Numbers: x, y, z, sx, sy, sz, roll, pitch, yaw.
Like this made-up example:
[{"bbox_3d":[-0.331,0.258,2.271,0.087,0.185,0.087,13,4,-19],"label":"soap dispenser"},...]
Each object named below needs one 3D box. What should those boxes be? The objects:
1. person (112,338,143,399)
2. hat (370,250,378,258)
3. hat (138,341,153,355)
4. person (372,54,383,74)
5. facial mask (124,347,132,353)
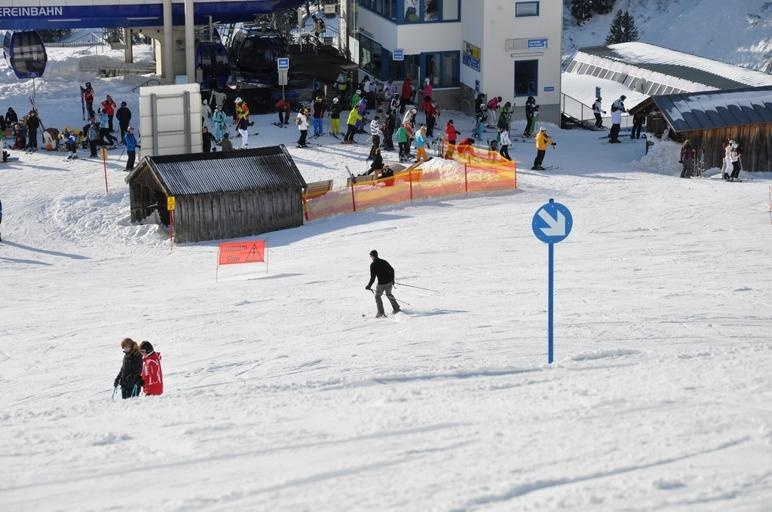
[{"bbox_3d":[-5.679,2.490,25.938,0.678,1.414,0.525,2,13,4],"label":"person"},{"bbox_3d":[-0.322,-0.032,29.868,0.157,0.187,0.188,10,22,23],"label":"hat"},{"bbox_3d":[-5.316,2.066,26.119,0.256,0.274,0.334,6,3,-14],"label":"hat"},{"bbox_3d":[-0.381,-9.195,56.046,0.604,1.041,1.099,-2,11,-6],"label":"person"},{"bbox_3d":[-5.629,2.073,25.717,0.151,0.074,0.200,-1,-6,-4],"label":"facial mask"}]
